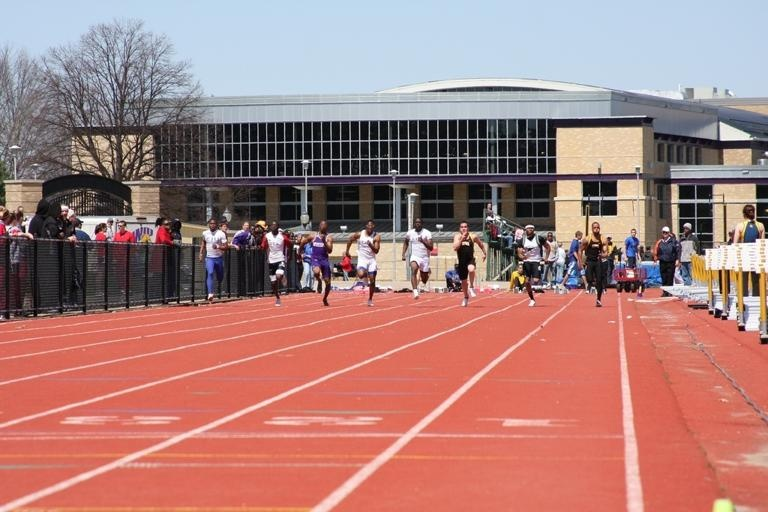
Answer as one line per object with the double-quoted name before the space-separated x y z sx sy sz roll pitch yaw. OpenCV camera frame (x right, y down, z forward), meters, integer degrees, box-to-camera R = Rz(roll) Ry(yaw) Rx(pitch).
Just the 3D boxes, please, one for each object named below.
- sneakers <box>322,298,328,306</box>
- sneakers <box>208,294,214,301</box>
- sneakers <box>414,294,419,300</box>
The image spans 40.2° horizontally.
"sneakers" -1.502 1.221 27.776 0.235 0.227 0.138 -1 5 -9
"sneakers" -4.935 1.180 29.870 0.136 0.171 0.068 -3 2 -30
"sneakers" 0.954 1.202 31.059 0.221 0.116 0.298 -1 1 4
